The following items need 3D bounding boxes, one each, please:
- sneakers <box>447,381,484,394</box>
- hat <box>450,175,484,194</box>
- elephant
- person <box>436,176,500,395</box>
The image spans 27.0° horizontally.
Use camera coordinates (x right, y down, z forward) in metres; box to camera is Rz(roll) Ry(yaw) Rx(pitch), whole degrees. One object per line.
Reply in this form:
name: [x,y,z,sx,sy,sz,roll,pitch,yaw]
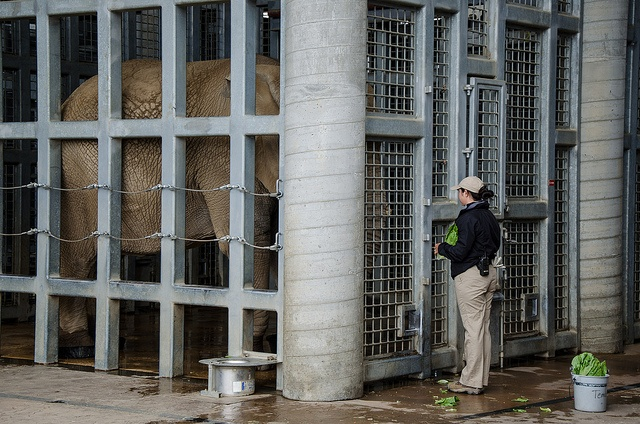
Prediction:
sneakers: [1.455,1.733,13.204,0.357,0.151,0.120,-1,1,13]
hat: [1.484,-0.280,13.240,0.251,0.113,0.159,8,8,19]
elephant: [-1.314,-0.528,15.820,4.174,2.766,2.067,-3,-4,14]
person: [1.483,0.718,13.193,0.533,2.115,0.496,3,9,19]
